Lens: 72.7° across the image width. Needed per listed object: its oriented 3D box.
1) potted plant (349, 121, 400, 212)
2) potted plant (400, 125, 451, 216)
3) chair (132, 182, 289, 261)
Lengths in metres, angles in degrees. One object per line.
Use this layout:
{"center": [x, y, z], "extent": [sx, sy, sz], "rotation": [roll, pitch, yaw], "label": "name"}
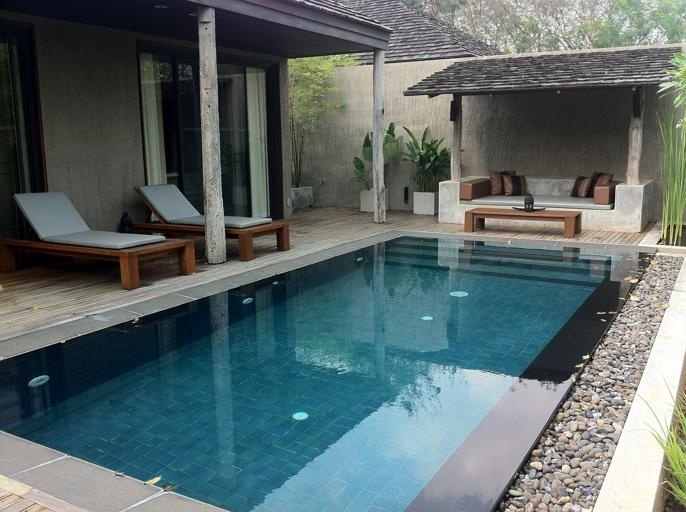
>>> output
{"center": [0.857, -2.312, 12.019], "extent": [1.310, 2.217, 1.023], "rotation": [2, 15, 10], "label": "potted plant"}
{"center": [2.001, -2.121, 11.470], "extent": [1.208, 2.080, 1.059], "rotation": [5, 16, 23], "label": "potted plant"}
{"center": [-2.205, -0.595, 7.610], "extent": [2.449, 1.087, 1.252], "rotation": [5, 13, 23], "label": "chair"}
